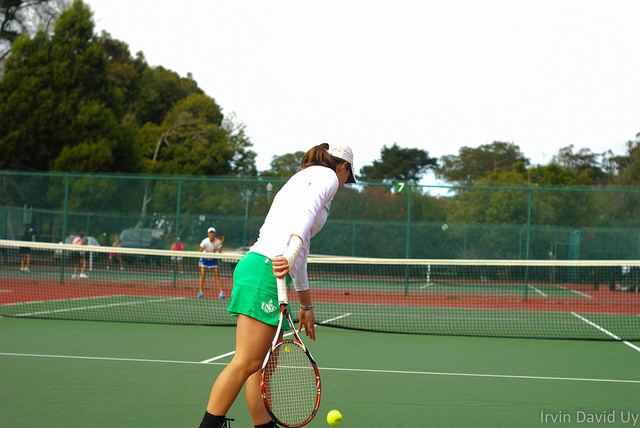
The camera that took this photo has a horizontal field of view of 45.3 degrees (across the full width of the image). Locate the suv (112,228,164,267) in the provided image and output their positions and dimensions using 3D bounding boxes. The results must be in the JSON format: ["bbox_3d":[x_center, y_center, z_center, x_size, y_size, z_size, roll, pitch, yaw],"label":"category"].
[{"bbox_3d":[-5.719,1.094,23.851,1.172,1.404,2.352,5,-2,-6],"label":"suv"}]

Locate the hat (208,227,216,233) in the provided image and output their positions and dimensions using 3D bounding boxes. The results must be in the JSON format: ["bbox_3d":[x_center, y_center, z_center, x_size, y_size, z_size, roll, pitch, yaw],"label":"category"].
[{"bbox_3d":[-2.968,0.398,20.951,0.205,0.131,0.366,3,-5,-4],"label":"hat"}]

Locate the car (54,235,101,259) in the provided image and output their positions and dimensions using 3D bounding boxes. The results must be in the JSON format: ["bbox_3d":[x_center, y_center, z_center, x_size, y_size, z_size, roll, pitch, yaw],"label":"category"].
[{"bbox_3d":[-7.524,0.877,23.114,1.572,0.985,1.006,0,-3,7],"label":"car"}]

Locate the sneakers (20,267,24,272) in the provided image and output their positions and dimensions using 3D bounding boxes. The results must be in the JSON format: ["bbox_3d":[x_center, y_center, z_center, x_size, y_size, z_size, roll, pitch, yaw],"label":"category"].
[{"bbox_3d":[-7.978,1.452,20.510,0.079,0.112,0.289,5,-7,-13],"label":"sneakers"}]

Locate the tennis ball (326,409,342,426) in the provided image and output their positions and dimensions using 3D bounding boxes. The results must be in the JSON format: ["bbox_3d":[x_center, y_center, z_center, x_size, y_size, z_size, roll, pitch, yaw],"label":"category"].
[{"bbox_3d":[0.205,2.898,11.015,0.190,0.246,0.193,4,35,-3],"label":"tennis ball"}]

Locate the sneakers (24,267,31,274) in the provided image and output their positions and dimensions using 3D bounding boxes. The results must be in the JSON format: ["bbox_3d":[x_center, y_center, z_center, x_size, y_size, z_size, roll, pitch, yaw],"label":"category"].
[{"bbox_3d":[-7.931,1.493,20.699,0.165,0.171,0.207,5,-7,-16],"label":"sneakers"}]
